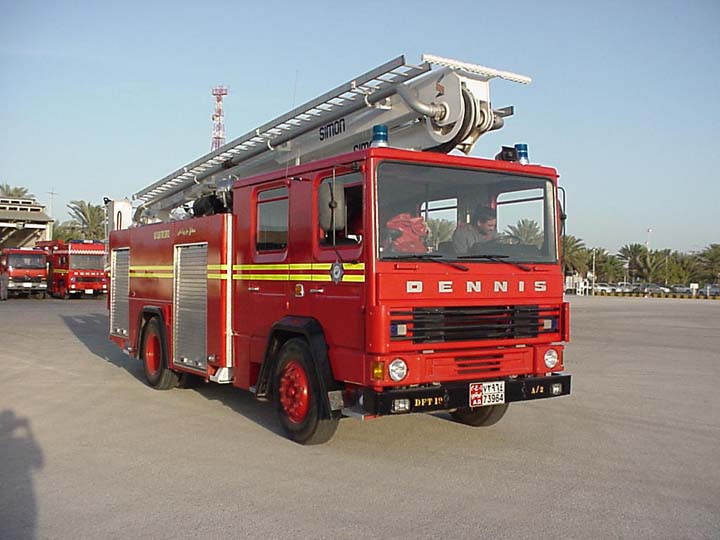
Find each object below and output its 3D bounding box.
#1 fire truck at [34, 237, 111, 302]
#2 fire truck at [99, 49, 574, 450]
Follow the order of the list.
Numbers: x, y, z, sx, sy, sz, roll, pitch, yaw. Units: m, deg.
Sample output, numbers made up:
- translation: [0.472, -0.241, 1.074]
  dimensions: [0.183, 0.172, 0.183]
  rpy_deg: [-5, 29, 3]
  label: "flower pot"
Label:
- translation: [-18.412, -0.030, 35.986]
  dimensions: [5.112, 3.843, 2.493]
  rpy_deg: [1, 1, 42]
  label: "fire truck"
- translation: [-1.309, -0.048, 9.804]
  dimensions: [3.375, 4.768, 9.379]
  rpy_deg: [1, 0, -33]
  label: "fire truck"
